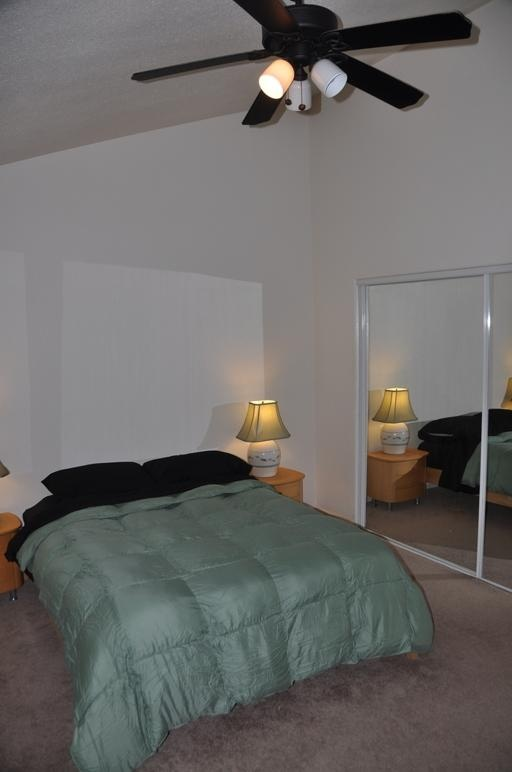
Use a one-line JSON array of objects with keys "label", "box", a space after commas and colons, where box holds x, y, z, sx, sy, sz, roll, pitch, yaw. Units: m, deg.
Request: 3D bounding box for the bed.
[{"label": "bed", "box": [-0.326, 0.896, 2.802, 1.566, 0.512, 1.704, -6, 8, -37]}]

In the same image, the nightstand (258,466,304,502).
[{"label": "nightstand", "box": [0.202, 0.693, 4.270, 0.230, 0.303, 0.308, 8, 14, 43]}]
